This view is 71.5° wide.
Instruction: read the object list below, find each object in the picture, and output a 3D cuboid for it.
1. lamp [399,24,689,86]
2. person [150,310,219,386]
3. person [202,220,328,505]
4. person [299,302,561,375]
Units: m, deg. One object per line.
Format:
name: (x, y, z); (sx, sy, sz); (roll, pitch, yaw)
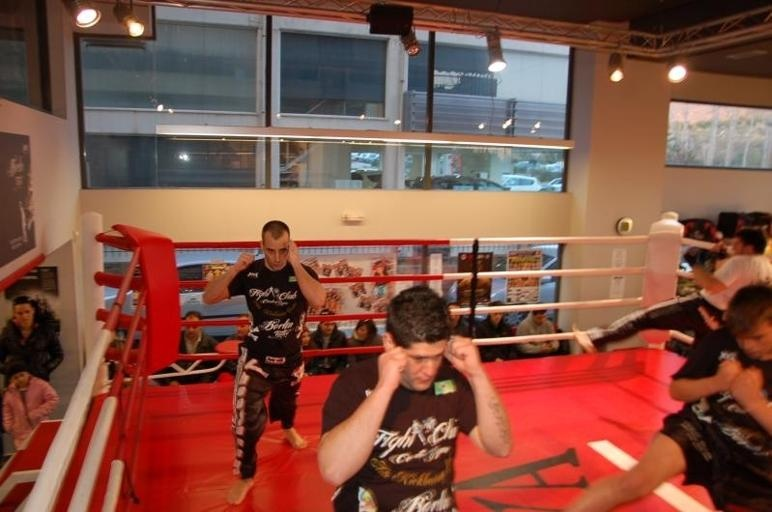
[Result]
lamp: (1.848, -2.631, 7.053); (3.394, 0.933, 1.681); (-1, 7, -3)
person: (-2.077, 1.021, 5.640); (0.585, 0.841, 0.549); (5, 2, -32)
person: (-0.806, 0.664, 3.751); (0.768, 1.801, 0.527); (-5, 8, -27)
person: (0.578, 0.737, 5.311); (2.599, 0.701, 0.528); (0, 0, -9)
